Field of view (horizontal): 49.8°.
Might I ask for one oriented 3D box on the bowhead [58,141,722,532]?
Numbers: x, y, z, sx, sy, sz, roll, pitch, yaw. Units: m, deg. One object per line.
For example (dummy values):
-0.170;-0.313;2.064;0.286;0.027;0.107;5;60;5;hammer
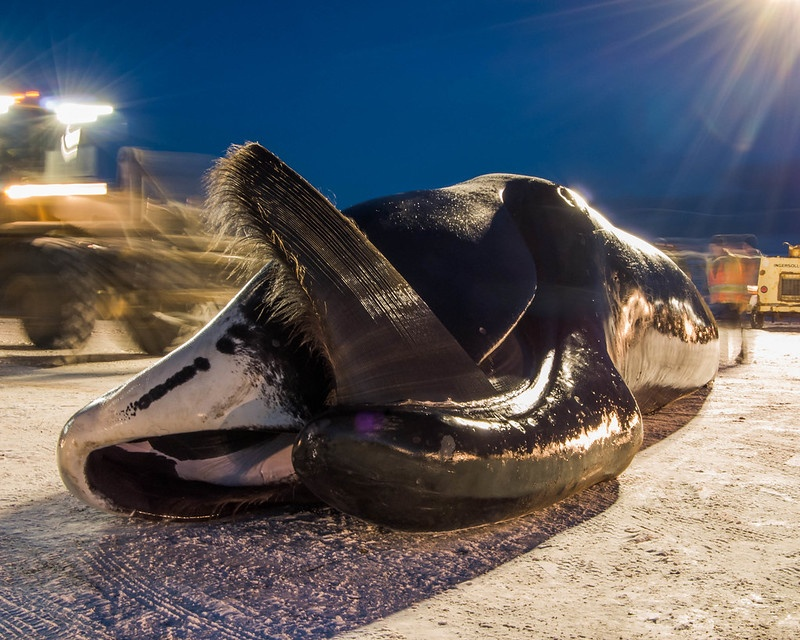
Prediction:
0.083;-0.162;4.021;2.406;1.123;3.741;12;14;30;bowhead
